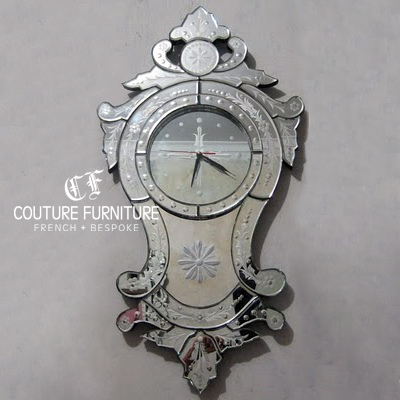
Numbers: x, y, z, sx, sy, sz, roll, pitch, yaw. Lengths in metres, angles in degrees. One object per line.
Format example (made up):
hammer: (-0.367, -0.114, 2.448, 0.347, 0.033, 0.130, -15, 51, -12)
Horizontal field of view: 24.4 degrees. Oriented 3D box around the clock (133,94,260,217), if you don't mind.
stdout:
clock: (-0.008, -0.146, 3.479, 0.343, 0.058, 0.427, 0, 82, 1)
